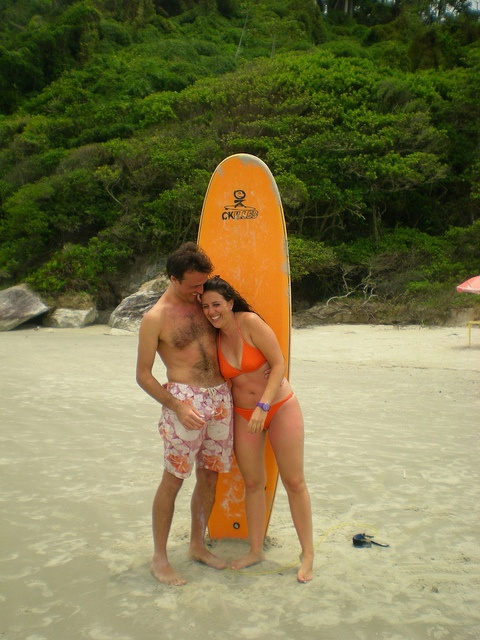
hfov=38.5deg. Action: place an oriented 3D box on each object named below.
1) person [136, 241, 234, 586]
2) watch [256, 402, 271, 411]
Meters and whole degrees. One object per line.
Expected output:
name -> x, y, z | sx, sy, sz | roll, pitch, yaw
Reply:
person -> -0.265, 0.464, 3.474 | 0.498, 1.690, 0.440 | -6, 13, -33
watch -> 0.112, 0.430, 3.390 | 0.058, 0.036, 0.059 | -2, -36, 41
